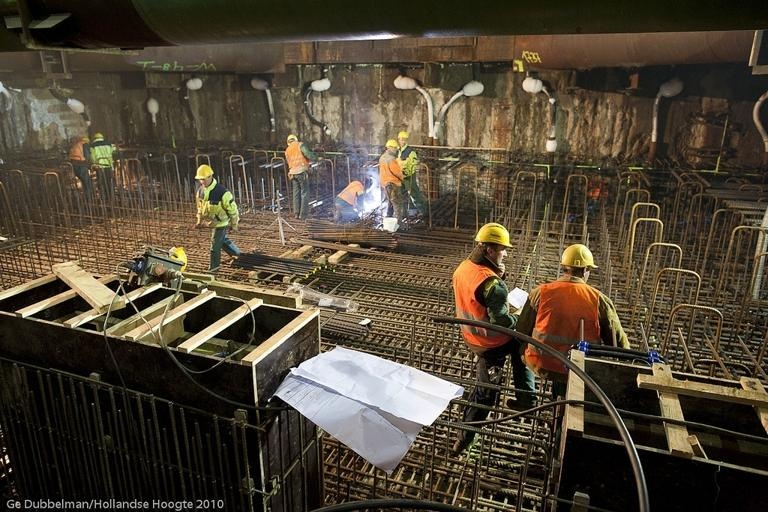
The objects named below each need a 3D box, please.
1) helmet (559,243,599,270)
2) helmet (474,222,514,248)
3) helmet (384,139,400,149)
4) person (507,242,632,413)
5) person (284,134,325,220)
[{"bbox_3d":[2.518,0.038,6.336,0.481,0.271,0.352,-4,15,0],"label":"helmet"},{"bbox_3d":[1.436,-0.289,6.532,0.450,0.211,0.318,-4,12,-1],"label":"helmet"},{"bbox_3d":[0.203,-3.153,14.000,0.326,0.197,0.430,7,21,18],"label":"helmet"},{"bbox_3d":[2.243,0.798,6.101,1.213,1.884,0.497,5,0,14],"label":"person"},{"bbox_3d":[-2.439,-2.322,14.486,0.796,2.443,0.675,5,0,21],"label":"person"}]
